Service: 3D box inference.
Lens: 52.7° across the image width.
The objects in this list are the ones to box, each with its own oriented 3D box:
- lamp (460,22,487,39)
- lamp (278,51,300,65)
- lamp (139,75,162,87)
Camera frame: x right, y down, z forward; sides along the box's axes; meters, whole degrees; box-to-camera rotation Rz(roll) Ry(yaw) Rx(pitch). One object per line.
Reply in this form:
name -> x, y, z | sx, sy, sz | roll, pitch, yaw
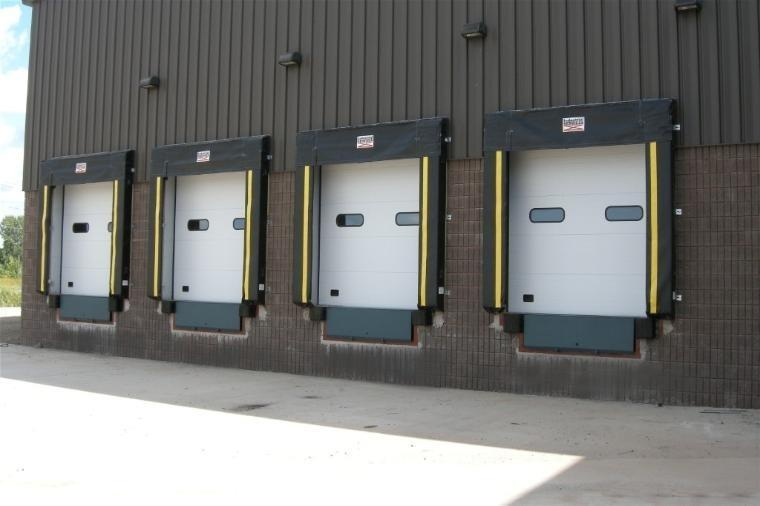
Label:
lamp -> 1.560, -3.730, 12.916 | 0.436, 0.252, 0.297 | 3, 4, 44
lamp -> -1.657, -3.582, 14.240 | 0.323, 0.230, 0.254 | -3, -3, 40
lamp -> -4.734, -3.520, 15.745 | 0.455, 0.276, 0.186 | 2, 5, 28
